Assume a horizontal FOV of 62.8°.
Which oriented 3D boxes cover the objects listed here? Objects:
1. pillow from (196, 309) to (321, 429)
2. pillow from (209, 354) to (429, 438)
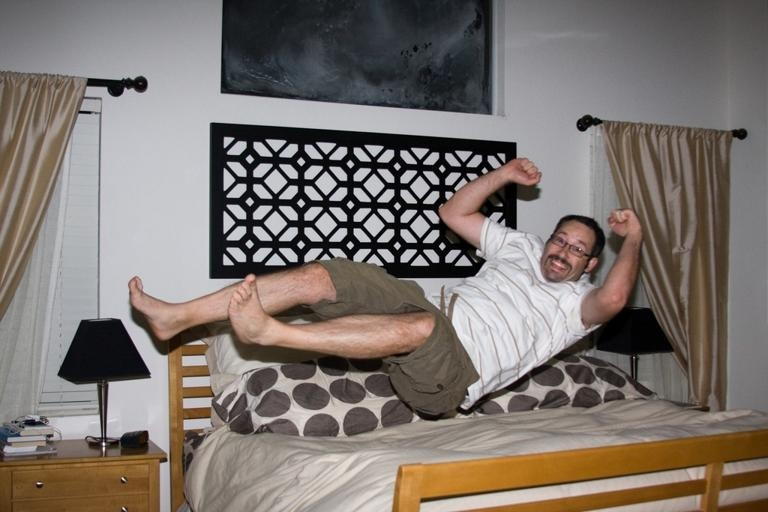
[{"bbox_3d":[-0.699,0.575,3.610,0.592,0.626,0.166,-14,-20,-4],"label":"pillow"},{"bbox_3d":[-0.291,0.659,3.299,0.794,0.202,0.469,1,6,-26],"label":"pillow"}]
